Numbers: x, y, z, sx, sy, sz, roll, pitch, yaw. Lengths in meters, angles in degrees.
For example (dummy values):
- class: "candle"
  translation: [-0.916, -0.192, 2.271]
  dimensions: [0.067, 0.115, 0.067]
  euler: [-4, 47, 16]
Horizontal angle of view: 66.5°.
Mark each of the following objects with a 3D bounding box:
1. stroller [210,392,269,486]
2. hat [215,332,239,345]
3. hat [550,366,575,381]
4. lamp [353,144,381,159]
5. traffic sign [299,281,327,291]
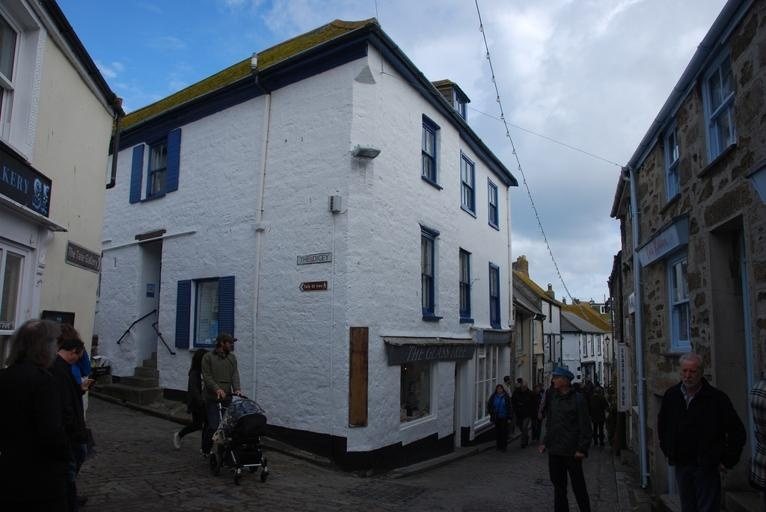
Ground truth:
- class: "stroller"
  translation: [-2.408, 3.100, 9.991]
  dimensions: [0.735, 1.354, 0.784]
  euler: [14, -5, -40]
- class: "hat"
  translation: [-2.851, 1.484, 10.546]
  dimensions: [0.476, 0.265, 0.327]
  euler: [2, -3, -7]
- class: "hat"
  translation: [2.931, 1.929, 9.535]
  dimensions: [0.354, 0.136, 0.265]
  euler: [1, -10, 33]
- class: "lamp"
  translation: [-0.428, -2.287, 12.922]
  dimensions: [0.443, 0.171, 0.353]
  euler: [3, -1, 38]
- class: "traffic sign"
  translation: [-1.538, 0.678, 12.939]
  dimensions: [0.693, 0.229, 0.035]
  euler: [8, -5, 27]
